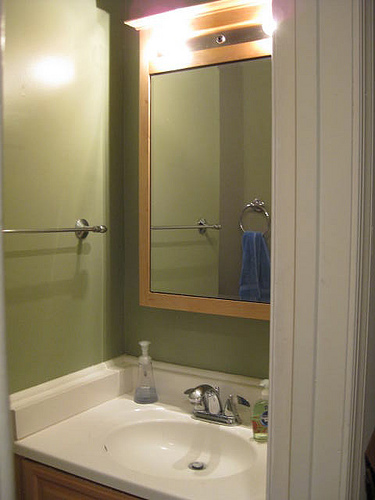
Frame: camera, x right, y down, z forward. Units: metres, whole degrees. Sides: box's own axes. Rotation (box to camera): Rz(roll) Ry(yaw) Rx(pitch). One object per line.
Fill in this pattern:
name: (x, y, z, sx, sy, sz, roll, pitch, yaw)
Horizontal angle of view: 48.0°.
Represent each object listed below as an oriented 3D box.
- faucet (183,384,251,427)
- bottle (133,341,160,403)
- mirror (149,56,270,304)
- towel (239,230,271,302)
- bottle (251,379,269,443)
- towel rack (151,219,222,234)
faucet: (0.096, 0.454, 1.232, 0.173, 0.087, 0.094, 4, 7, 26)
bottle: (-0.139, 0.412, 1.390, 0.079, 0.218, 0.084, -3, -15, -1)
mirror: (0.055, -0.204, 1.302, 0.442, 0.715, 0.042, 4, 6, 32)
towel: (0.197, 0.049, 1.219, 0.041, 0.205, 0.079, 5, 10, 31)
bottle: (0.192, 0.429, 1.103, 0.037, 0.132, 0.039, 1, 5, 0)
towel rack: (-0.005, -0.072, 1.336, 0.221, 0.084, 0.068, 1, 2, 22)
